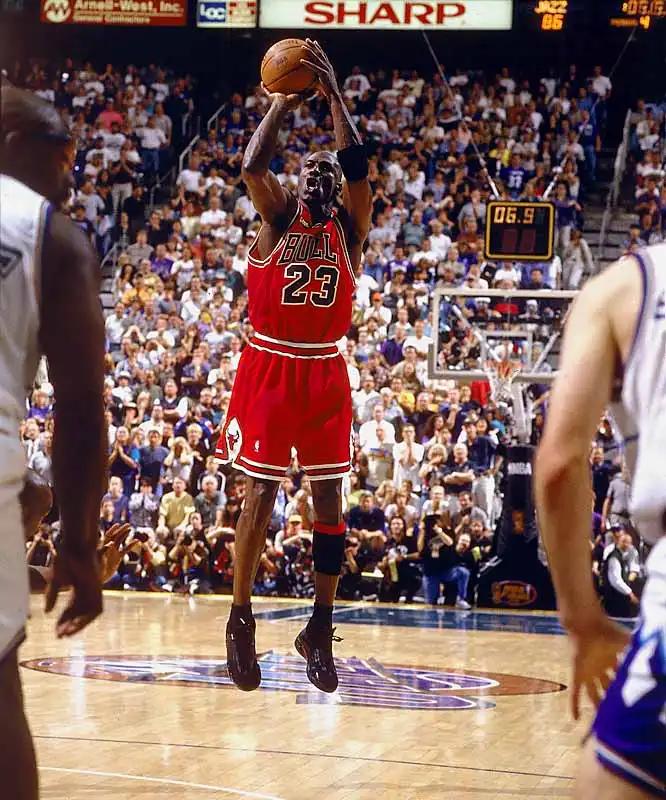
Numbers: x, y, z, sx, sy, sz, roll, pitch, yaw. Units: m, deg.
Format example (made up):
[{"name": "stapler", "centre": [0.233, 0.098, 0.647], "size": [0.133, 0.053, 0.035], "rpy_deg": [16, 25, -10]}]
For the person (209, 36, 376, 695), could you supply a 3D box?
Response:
[{"name": "person", "centre": [-0.154, -0.050, 3.544], "size": [0.481, 2.090, 0.404], "rpy_deg": [2, -5, -7]}]

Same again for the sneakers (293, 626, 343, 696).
[{"name": "sneakers", "centre": [-0.060, 0.905, 3.568], "size": [0.130, 0.230, 0.215], "rpy_deg": [2, -6, -6]}]

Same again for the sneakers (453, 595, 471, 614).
[{"name": "sneakers", "centre": [0.996, 1.608, 8.004], "size": [0.112, 0.110, 0.068], "rpy_deg": [-11, -16, 39]}]

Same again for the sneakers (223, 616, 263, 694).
[{"name": "sneakers", "centre": [-0.313, 0.842, 3.462], "size": [0.095, 0.281, 0.113], "rpy_deg": [-4, -15, -18]}]
